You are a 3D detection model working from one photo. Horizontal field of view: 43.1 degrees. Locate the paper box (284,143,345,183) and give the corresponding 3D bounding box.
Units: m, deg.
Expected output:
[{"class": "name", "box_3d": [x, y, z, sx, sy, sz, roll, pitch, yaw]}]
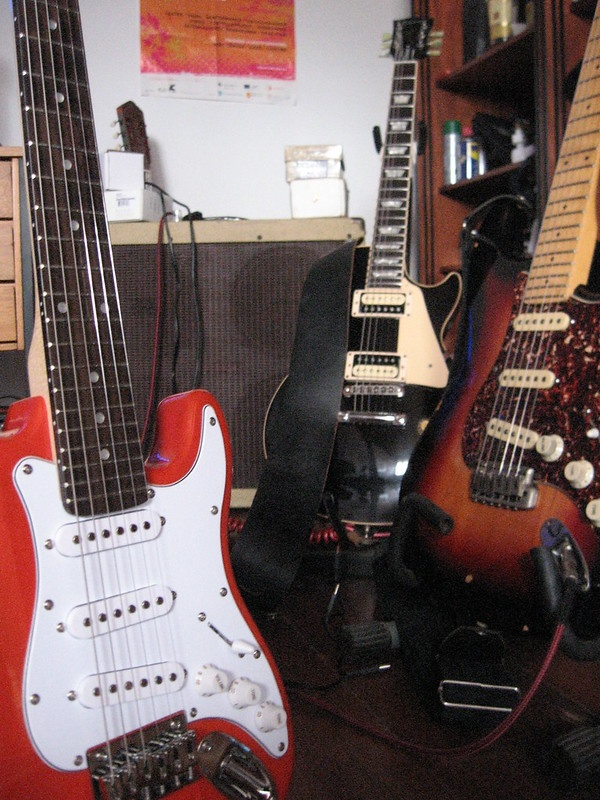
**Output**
[{"class": "paper box", "box_3d": [0.030, -0.551, 1.758, 0.112, 0.110, 0.033, -2, -6, 7]}]
